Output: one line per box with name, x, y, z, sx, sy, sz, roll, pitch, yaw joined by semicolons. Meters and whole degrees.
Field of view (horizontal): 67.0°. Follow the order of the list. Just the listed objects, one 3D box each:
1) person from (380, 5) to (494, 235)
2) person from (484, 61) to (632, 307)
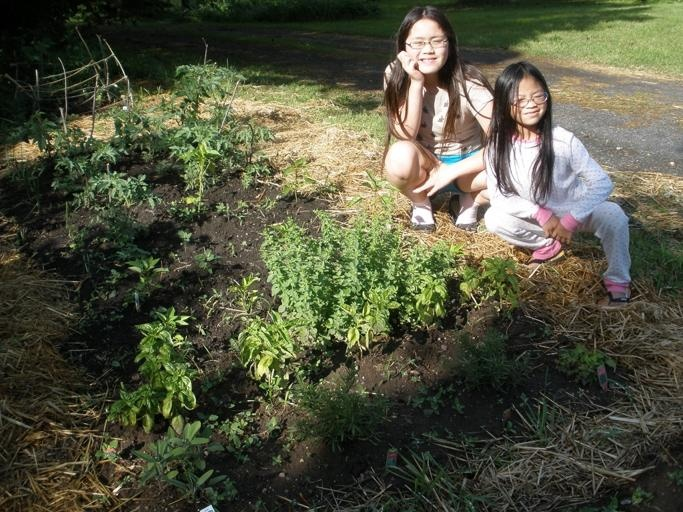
person;0.818;-1.145;4.400;0.972;1.789;0.681;3;32;7
person;1.650;-0.587;3.915;1.203;1.587;0.441;20;39;31
